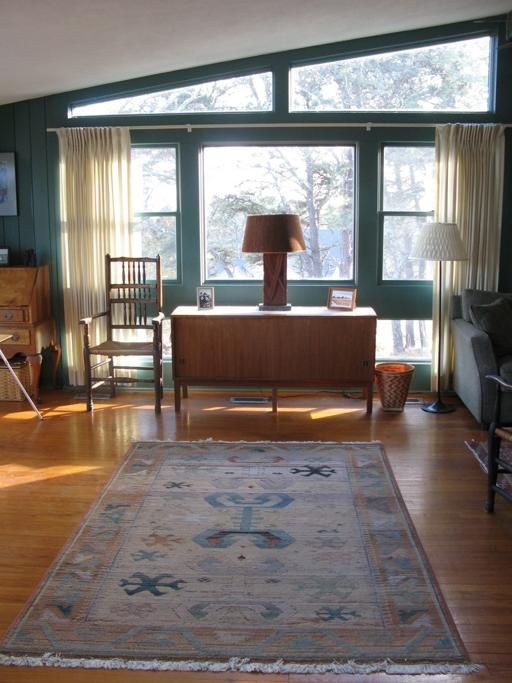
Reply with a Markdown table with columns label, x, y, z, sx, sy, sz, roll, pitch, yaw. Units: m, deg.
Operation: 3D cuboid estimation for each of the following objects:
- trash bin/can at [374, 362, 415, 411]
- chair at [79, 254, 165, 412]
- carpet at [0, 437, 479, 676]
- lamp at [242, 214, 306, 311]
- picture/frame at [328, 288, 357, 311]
| label | x | y | z | sx | sy | sz | roll | pitch | yaw |
| --- | --- | --- | --- | --- | --- | --- | --- | --- | --- |
| trash bin/can | 1.072 | 0.359 | 4.547 | 0.370 | 0.350 | 0.369 | 0 | 7 | 3 |
| chair | -1.078 | -0.101 | 4.705 | 0.717 | 1.229 | 0.865 | -4 | 9 | -16 |
| carpet | -0.072 | 0.828 | 2.480 | 1.580 | 0.042 | 1.794 | 0 | 8 | 5 |
| lamp | 0.122 | -0.596 | 4.315 | 0.451 | 0.729 | 0.411 | -3 | 9 | -15 |
| picture/frame | 0.670 | -0.330 | 4.415 | 0.196 | 0.151 | 0.098 | 6 | 2 | 21 |
